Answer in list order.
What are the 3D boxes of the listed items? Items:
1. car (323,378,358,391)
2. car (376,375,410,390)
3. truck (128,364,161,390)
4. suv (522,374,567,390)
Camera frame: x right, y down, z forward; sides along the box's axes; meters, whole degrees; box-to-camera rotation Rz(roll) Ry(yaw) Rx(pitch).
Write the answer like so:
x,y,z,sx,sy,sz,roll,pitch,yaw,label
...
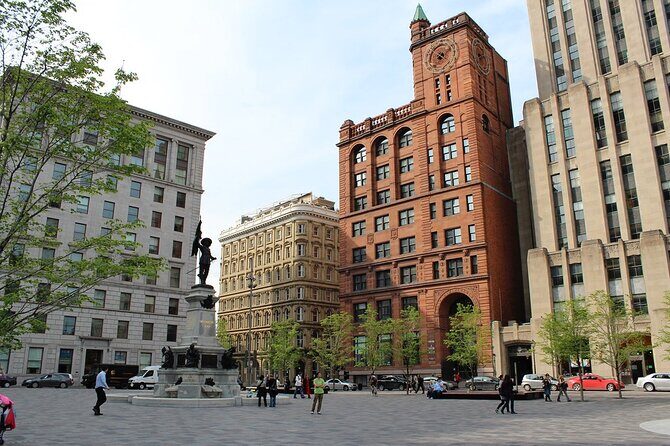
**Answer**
x,y,z,sx,sy,sz,roll,pitch,yaw,label
0.364,19.559,67.214,4.526,1.257,1.853,-9,-18,28,car
6.725,18.929,66.203,4.310,1.319,1.876,-11,-19,29,car
-19.530,15.842,57.220,2.625,2.355,1.839,3,-23,-10,truck
20.869,16.331,56.669,3.726,1.479,2.111,-7,-17,20,suv
